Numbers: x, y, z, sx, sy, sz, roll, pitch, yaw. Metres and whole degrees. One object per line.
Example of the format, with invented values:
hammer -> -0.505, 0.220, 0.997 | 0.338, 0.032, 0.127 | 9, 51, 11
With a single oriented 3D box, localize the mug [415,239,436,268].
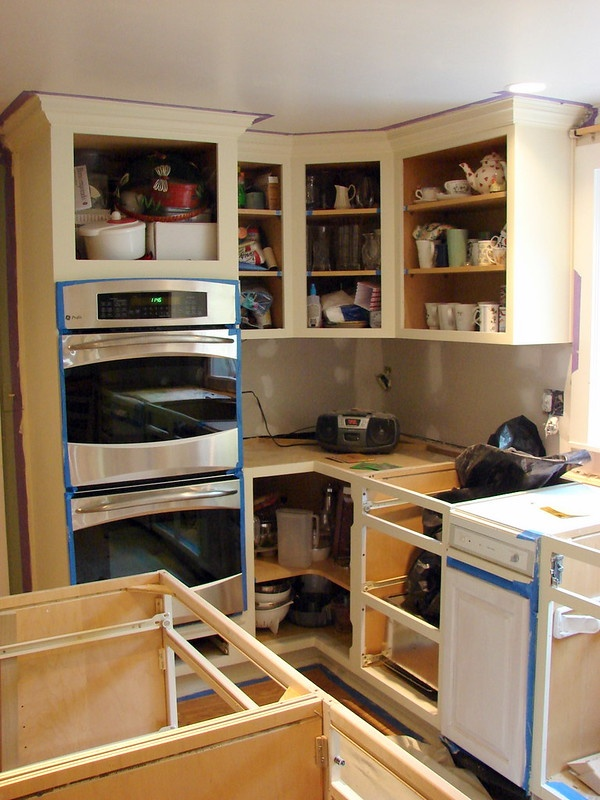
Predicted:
mug -> 0.479, -0.558, 2.618 | 0.074, 0.103, 0.110 | 1, 15, 3

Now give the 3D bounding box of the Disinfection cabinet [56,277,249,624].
Disinfection cabinet -> -0.568, 0.143, 2.501 | 0.599, 1.130, 0.528 | -4, 12, -30

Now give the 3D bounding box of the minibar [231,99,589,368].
minibar -> 0.449, -0.610, 2.543 | 1.098, 0.797, 0.475 | 3, 5, 31

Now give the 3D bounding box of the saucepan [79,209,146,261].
saucepan -> -0.622, -0.524, 2.279 | 0.206, 0.138, 0.091 | -1, 5, -18

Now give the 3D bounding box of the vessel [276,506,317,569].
vessel -> -0.022, 0.578, 2.906 | 0.152, 0.243, 0.138 | 3, 10, -6

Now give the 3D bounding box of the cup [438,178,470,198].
cup -> 0.546, -0.756, 2.473 | 0.083, 0.058, 0.079 | -2, 14, 1

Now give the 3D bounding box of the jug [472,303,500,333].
jug -> 0.642, -0.278, 2.357 | 0.112, 0.108, 0.075 | -6, 12, -20

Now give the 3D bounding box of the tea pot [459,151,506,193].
tea pot -> 0.636, -0.768, 2.312 | 0.176, 0.129, 0.112 | 22, 33, 36

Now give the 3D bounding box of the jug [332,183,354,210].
jug -> 0.174, -0.817, 2.771 | 0.112, 0.114, 0.079 | -5, 7, -31
